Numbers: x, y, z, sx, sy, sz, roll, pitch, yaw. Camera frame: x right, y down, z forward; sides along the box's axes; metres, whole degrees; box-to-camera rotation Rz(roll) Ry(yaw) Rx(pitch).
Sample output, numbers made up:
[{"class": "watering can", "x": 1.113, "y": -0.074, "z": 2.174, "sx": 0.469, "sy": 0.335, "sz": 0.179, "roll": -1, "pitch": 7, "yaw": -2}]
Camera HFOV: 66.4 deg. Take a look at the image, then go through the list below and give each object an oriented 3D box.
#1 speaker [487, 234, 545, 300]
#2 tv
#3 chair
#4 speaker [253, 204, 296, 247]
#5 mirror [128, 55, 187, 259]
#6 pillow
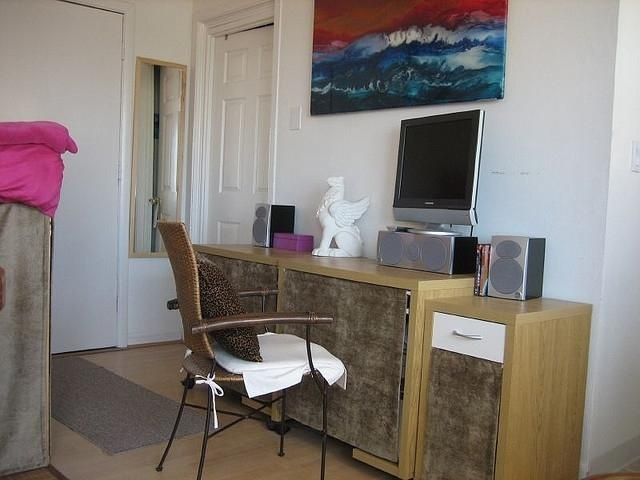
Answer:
[{"class": "speaker", "x": 0.933, "y": 0.126, "z": 2.242, "sx": 0.329, "sy": 0.280, "sz": 0.158, "roll": 0, "pitch": 6, "yaw": -26}, {"class": "tv", "x": 0.614, "y": -0.334, "z": 2.508, "sx": 0.232, "sy": 0.724, "sz": 0.681, "roll": 8, "pitch": -4, "yaw": -37}, {"class": "chair", "x": -0.320, "y": 0.490, "z": 2.697, "sx": 1.108, "sy": 1.574, "sz": 1.015, "roll": 0, "pitch": 3, "yaw": -19}, {"class": "speaker", "x": -0.335, "y": -0.106, "z": 3.353, "sx": 0.255, "sy": 0.361, "sz": 0.321, "roll": 1, "pitch": 0, "yaw": -18}, {"class": "mirror", "x": -1.345, "y": -0.670, "z": 4.095, "sx": 0.158, "sy": 1.635, "sz": 0.523, "roll": 6, "pitch": 7, "yaw": 37}, {"class": "pillow", "x": -0.362, "y": 0.282, "z": 1.976, "sx": 0.260, "sy": 0.423, "sz": 0.262, "roll": 4, "pitch": 5, "yaw": 11}]
